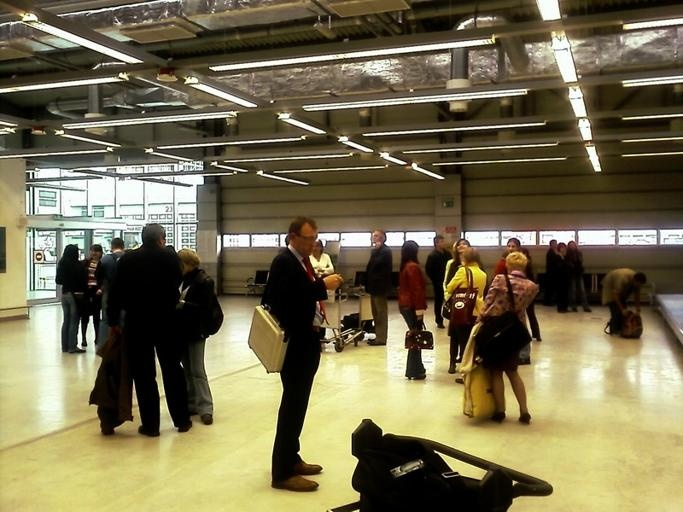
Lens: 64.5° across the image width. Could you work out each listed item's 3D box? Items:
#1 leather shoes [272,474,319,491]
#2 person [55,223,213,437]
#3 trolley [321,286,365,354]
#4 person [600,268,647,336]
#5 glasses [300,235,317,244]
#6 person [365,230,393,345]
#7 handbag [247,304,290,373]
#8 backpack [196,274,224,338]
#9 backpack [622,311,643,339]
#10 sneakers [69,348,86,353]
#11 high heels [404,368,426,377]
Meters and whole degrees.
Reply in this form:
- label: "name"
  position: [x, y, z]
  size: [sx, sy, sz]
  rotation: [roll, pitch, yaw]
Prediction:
- label: "leather shoes"
  position: [-0.351, 1.773, 4.245]
  size: [0.269, 0.100, 0.135]
  rotation: [-3, -5, 9]
- label: "person"
  position: [-1.975, 0.718, 5.365]
  size: [0.904, 2.068, 0.365]
  rotation: [-1, 2, -16]
- label: "trolley"
  position: [-0.198, 1.263, 9.693]
  size: [0.572, 0.760, 0.785]
  rotation: [-22, 0, 43]
- label: "person"
  position: [5.470, 0.910, 10.511]
  size: [0.646, 1.269, 0.865]
  rotation: [-2, 7, -24]
- label: "glasses"
  position: [-0.254, -0.133, 4.317]
  size: [0.083, 0.033, 0.066]
  rotation: [-16, -16, 32]
- label: "person"
  position: [0.660, 0.589, 9.688]
  size: [0.444, 2.069, 0.860]
  rotation: [0, 2, 2]
- label: "handbag"
  position: [-0.573, 0.653, 4.225]
  size: [0.223, 0.519, 0.388]
  rotation: [-2, 2, -29]
- label: "backpack"
  position: [-1.326, 0.534, 5.702]
  size: [0.404, 0.530, 0.216]
  rotation: [4, 11, 12]
- label: "backpack"
  position: [5.494, 1.288, 10.237]
  size: [0.405, 0.522, 0.168]
  rotation: [-1, 2, -9]
- label: "sneakers"
  position: [-4.515, 1.627, 9.282]
  size: [0.263, 0.103, 0.087]
  rotation: [-1, 3, -26]
- label: "high heels"
  position: [1.003, 1.578, 7.289]
  size: [0.217, 0.131, 0.125]
  rotation: [0, -1, 9]
